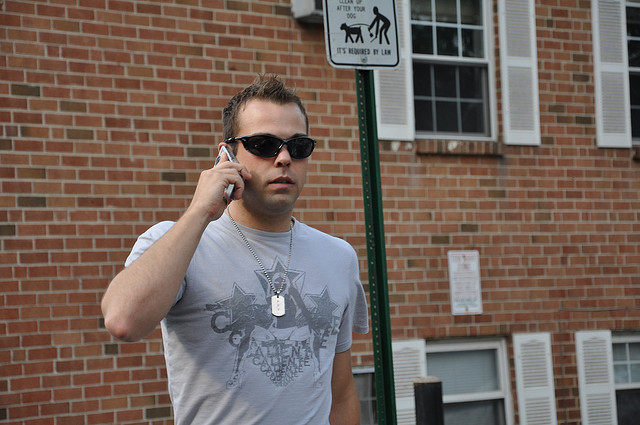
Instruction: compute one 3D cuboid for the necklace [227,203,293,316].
[{"bbox_3d":[-0.450,0.381,7.690,0.499,0.871,0.211,-2,-5,-4],"label":"necklace"}]
